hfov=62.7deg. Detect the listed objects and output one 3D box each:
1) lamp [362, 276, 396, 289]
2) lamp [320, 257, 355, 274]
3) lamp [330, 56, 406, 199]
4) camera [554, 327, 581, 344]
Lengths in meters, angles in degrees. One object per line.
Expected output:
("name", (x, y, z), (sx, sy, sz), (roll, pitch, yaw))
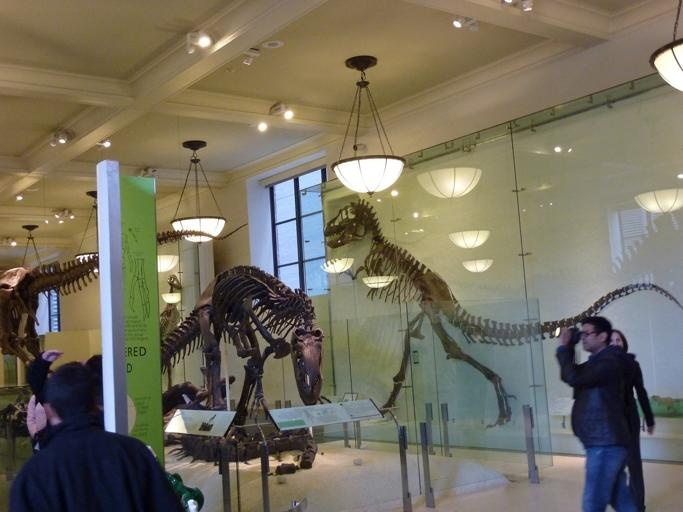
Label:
("lamp", (0.473, 0.318, 7.198), (0.081, 0.189, 0.552), (3, -13, -40))
("lamp", (-0.077, 0.127, 7.849), (0.118, 0.256, 0.620), (3, -13, -39))
("lamp", (0.278, -1.594, 6.760), (0.871, 1.652, 0.854), (2, -9, -34))
("camera", (1.652, 0.575, 4.157), (0.168, 0.090, 0.236), (2, -3, -11))
